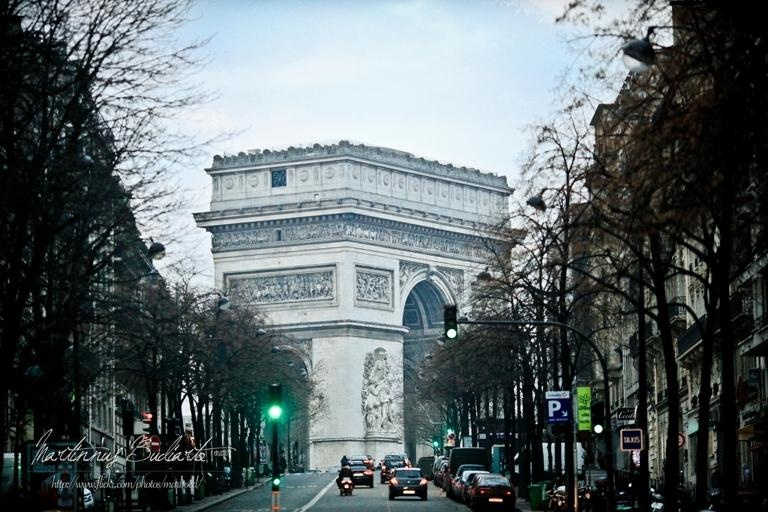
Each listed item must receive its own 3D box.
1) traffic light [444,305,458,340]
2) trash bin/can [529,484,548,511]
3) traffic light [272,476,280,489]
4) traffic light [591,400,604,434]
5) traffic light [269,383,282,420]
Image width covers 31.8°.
[{"bbox_3d":[2.629,2.613,54.650,0.508,1.389,0.943,-2,-15,-1],"label":"traffic light"},{"bbox_3d":[7.286,11.371,64.577,0.962,1.552,1.005,0,-13,2],"label":"trash bin/can"},{"bbox_3d":[-3.720,7.523,45.318,0.142,0.426,0.370,2,-16,-16],"label":"traffic light"},{"bbox_3d":[8.494,6.328,53.944,0.506,1.315,1.153,-4,-15,7],"label":"traffic light"},{"bbox_3d":[-3.755,4.792,45.684,0.394,1.182,0.932,0,-15,-8],"label":"traffic light"}]
